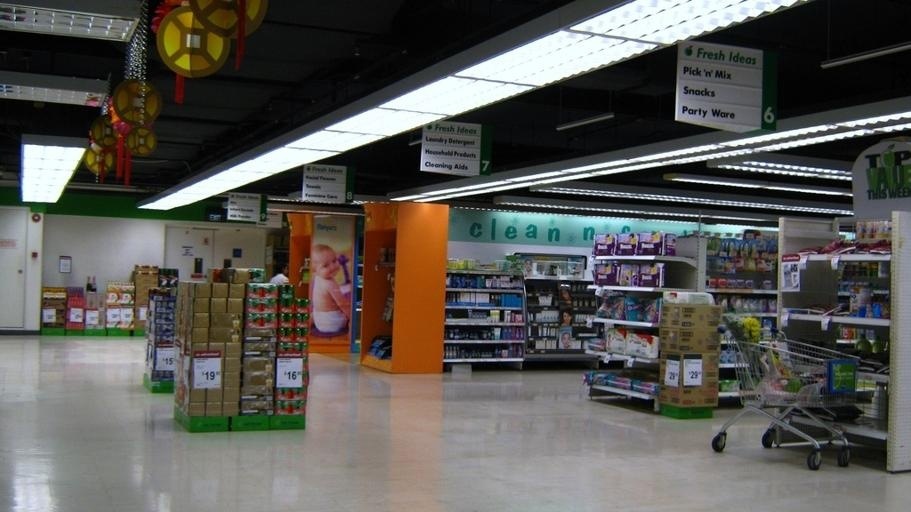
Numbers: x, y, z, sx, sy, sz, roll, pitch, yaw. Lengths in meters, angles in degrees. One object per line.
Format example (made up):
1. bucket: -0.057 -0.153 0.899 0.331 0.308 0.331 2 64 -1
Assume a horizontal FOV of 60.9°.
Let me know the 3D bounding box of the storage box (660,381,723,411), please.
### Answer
1. storage box: 4.412 2.643 14.588 0.737 0.416 0.694 1 -1 -8

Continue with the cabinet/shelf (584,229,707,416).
1. cabinet/shelf: 3.807 1.185 15.642 1.344 3.920 1.828 -13 1 -22

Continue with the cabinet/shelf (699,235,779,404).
1. cabinet/shelf: 5.781 1.104 16.385 1.446 4.209 1.573 2 -1 -45

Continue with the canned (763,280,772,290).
1. canned: 6.585 0.605 16.398 0.176 0.195 0.111 6 -13 -12

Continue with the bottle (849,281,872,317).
1. bottle: 6.509 0.693 12.443 0.300 0.500 0.251 7 8 38

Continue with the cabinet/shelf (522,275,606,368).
1. cabinet/shelf: 2.645 1.536 19.301 2.571 2.238 0.863 4 -7 -23

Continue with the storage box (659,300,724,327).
1. storage box: 4.389 1.123 14.515 1.088 0.475 0.379 3 6 15

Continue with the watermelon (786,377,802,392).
1. watermelon: 5.342 2.041 12.264 0.201 0.139 0.231 1 0 -13

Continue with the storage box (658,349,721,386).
1. storage box: 4.434 2.085 14.719 0.822 0.570 0.784 2 -3 -26

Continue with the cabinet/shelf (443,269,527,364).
1. cabinet/shelf: 0.619 1.486 19.054 2.372 2.007 0.794 5 -8 -29

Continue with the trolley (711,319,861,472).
1. trolley: 5.653 2.007 12.870 1.897 2.483 2.027 3 -3 -43
